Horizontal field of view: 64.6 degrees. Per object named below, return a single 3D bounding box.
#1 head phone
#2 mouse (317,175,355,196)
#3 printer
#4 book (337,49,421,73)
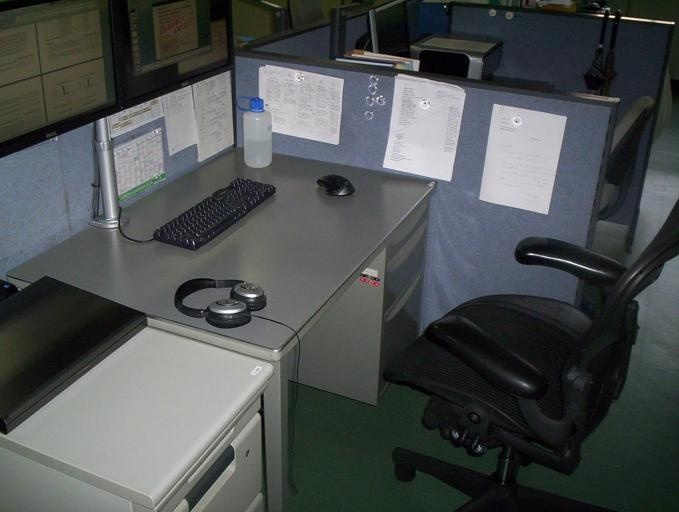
[{"bbox_3d":[-0.293,0.107,1.310,0.218,0.060,0.180,14,26,25],"label":"head phone"},{"bbox_3d":[-0.016,-0.237,1.804,0.088,0.032,0.088,0,36,-7],"label":"mouse"},{"bbox_3d":[0.639,-1.085,2.947,0.382,0.187,0.639,16,30,20],"label":"printer"},{"bbox_3d":[0.140,-0.705,1.963,0.300,0.039,0.270,10,28,9],"label":"book"}]
